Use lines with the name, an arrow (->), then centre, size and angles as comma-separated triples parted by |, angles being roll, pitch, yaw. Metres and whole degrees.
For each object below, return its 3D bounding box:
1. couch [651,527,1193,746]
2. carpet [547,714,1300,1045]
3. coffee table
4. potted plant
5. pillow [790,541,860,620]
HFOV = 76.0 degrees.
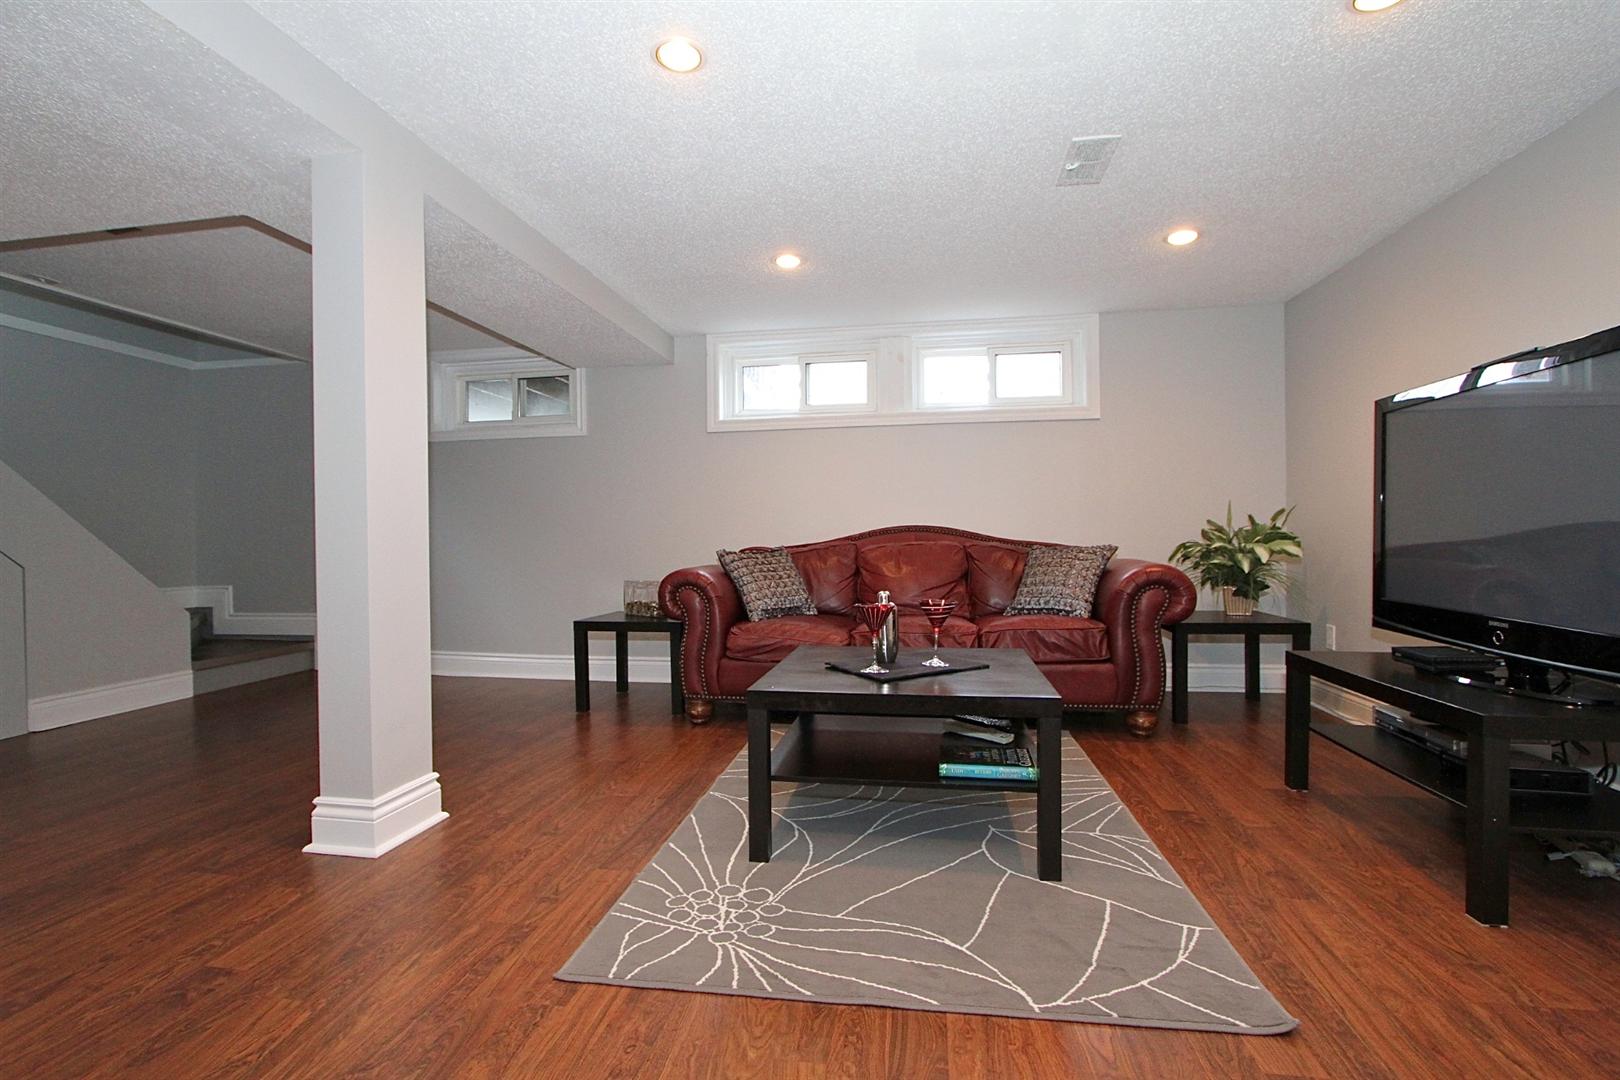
couch -> 0.635, 0.487, 5.939 | 2.822, 0.986, 0.811 | -1, 4, 8
carpet -> 0.433, 1.324, 4.212 | 2.628, 0.017, 2.795 | 1, 2, -11
coffee table -> 0.420, 0.875, 4.357 | 0.974, 0.512, 1.007 | -1, -4, 9
potted plant -> 2.429, 0.093, 5.930 | 0.718, 0.544, 0.673 | -1, 1, -12
pillow -> 0.119, 0.233, 6.348 | 0.442, 0.396, 0.127 | -1, -25, 0
